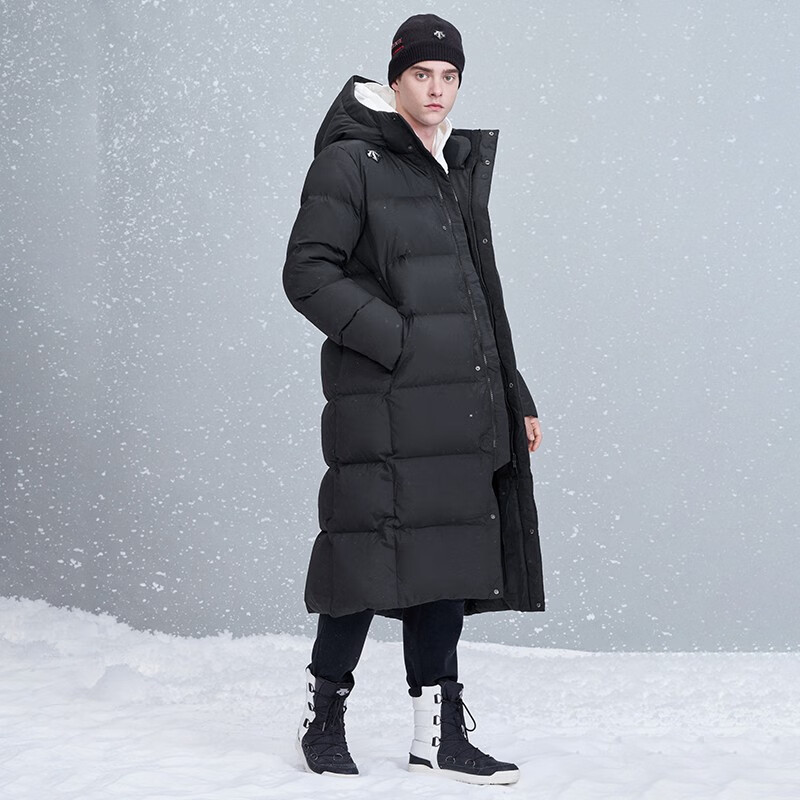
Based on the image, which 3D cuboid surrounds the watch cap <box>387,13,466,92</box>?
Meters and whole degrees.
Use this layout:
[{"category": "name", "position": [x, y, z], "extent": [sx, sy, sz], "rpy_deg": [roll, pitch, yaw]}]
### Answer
[{"category": "watch cap", "position": [0.055, -0.716, 2.470], "extent": [0.126, 0.110, 0.152], "rpy_deg": [5, -10, -37]}]

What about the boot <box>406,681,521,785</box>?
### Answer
[{"category": "boot", "position": [0.130, 0.662, 2.397], "extent": [0.100, 0.177, 0.266], "rpy_deg": [9, -10, -43]}]

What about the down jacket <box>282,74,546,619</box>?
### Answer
[{"category": "down jacket", "position": [0.040, -0.111, 2.391], "extent": [0.520, 0.923, 0.235], "rpy_deg": [2, 1, 6]}]
